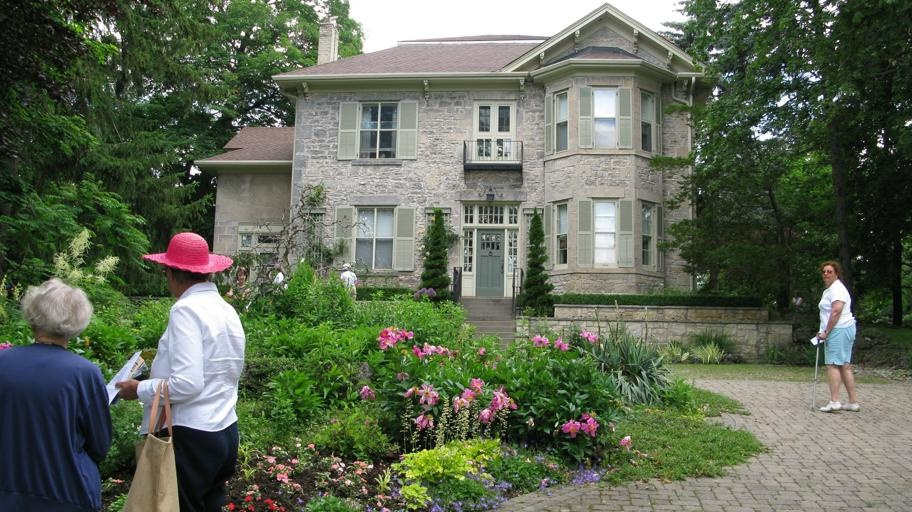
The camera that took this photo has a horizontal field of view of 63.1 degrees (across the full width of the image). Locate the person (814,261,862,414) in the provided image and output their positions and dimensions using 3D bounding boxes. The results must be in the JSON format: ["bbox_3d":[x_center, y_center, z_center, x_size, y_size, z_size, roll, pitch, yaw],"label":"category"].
[{"bbox_3d":[8.390,1.765,16.433,0.885,3.341,1.396,2,-1,28],"label":"person"}]

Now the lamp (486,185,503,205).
[{"bbox_3d":[1.343,-2.289,27.757,0.631,0.458,0.220,2,-1,3],"label":"lamp"}]

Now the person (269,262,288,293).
[{"bbox_3d":[-4.543,0.541,19.009,0.421,0.577,2.027,2,-2,-14],"label":"person"}]
